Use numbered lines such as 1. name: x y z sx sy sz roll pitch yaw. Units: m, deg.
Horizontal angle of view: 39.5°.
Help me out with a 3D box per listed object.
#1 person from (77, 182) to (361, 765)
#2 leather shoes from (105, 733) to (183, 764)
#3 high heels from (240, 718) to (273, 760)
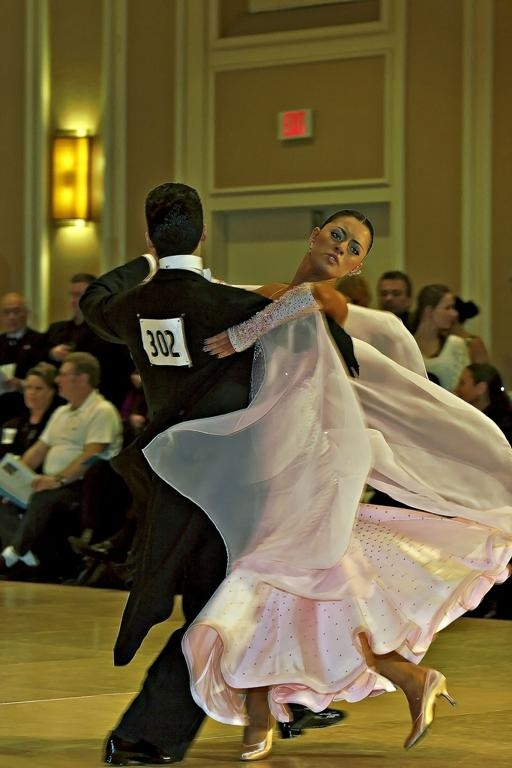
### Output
1. person: -0.191 0.195 1.699 0.412 1.326 0.418 -1 3 -14
2. leather shoes: -0.247 0.771 1.551 0.178 0.058 0.054 -1 0 -14
3. high heels: 0.007 0.826 1.655 0.038 0.042 0.115 -2 -10 18
